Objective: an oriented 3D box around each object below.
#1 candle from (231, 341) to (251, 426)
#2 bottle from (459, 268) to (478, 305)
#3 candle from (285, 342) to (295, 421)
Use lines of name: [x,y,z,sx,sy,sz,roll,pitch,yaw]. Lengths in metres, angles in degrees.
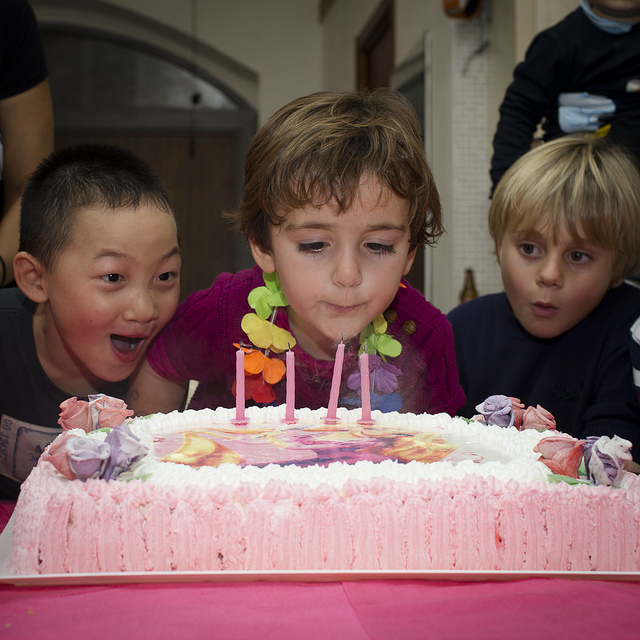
candle: [-0.199,0.156,1.753,0.058,0.200,0.061,0,3,-2]
bottle: [0.739,-0.165,3.488,0.087,0.181,0.225,3,10,11]
candle: [-0.073,0.144,1.747,0.017,0.165,0.020,-10,17,-31]
